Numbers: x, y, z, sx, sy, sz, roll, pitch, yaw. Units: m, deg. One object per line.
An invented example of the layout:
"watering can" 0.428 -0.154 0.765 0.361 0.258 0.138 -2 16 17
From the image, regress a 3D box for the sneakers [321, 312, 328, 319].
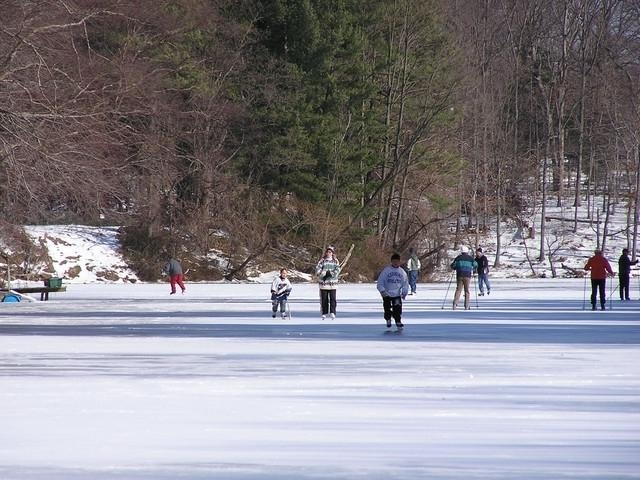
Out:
"sneakers" 0.200 2.802 50.832 0.213 0.113 0.307 1 5 3
